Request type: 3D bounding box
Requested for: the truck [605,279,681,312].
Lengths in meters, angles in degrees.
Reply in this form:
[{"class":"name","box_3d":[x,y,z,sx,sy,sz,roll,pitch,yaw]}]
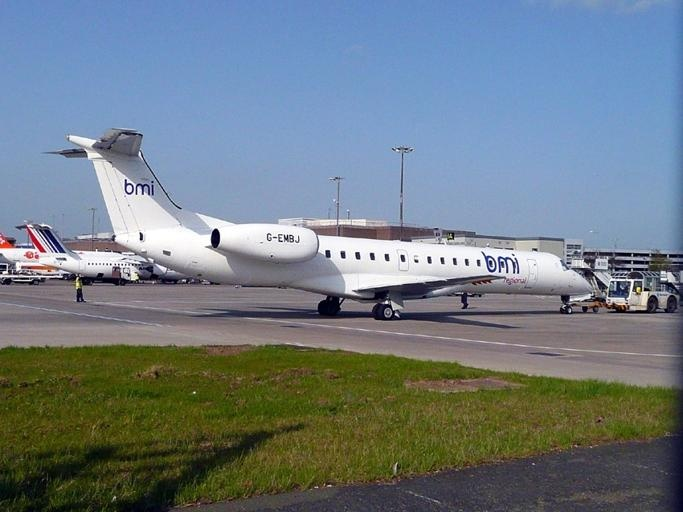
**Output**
[{"class":"truck","box_3d":[15.070,2.013,39.339,3.156,1.959,2.207,4,8,21]}]
